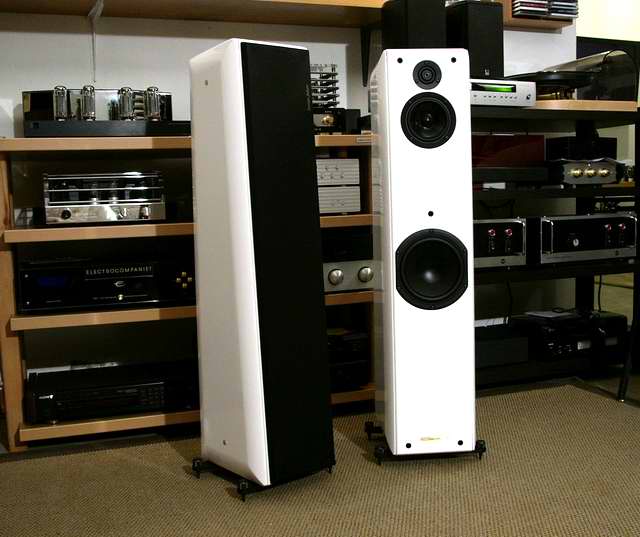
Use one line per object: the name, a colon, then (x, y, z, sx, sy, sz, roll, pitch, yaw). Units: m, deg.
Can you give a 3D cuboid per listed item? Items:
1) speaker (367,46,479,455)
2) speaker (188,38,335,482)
speaker: (0.317, -0.039, 1.732, 0.262, 1.161, 0.143, 0, 8, 9)
speaker: (-0.157, -0.016, 1.666, 0.370, 1.191, 0.249, -2, 8, -6)
